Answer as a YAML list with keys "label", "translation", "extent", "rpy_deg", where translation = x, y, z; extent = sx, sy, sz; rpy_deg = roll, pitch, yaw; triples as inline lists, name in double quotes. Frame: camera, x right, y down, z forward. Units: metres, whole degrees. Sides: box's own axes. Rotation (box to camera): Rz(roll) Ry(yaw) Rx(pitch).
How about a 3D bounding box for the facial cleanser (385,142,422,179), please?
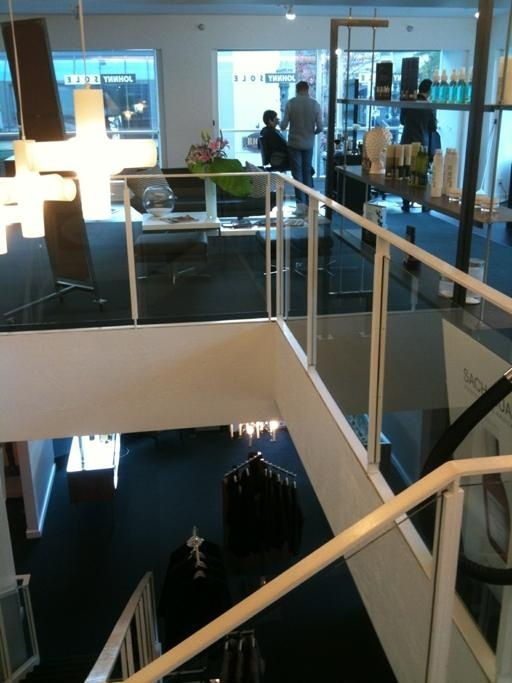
- label: "facial cleanser"
  translation: [1.114, -1.330, 3.919]
  extent: [0.273, 0.313, 0.297]
  rpy_deg: [-4, 19, -5]

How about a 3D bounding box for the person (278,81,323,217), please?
- label: "person"
  translation: [0.661, -2.804, 7.439]
  extent: [0.463, 1.732, 0.529]
  rpy_deg: [25, 47, 29]

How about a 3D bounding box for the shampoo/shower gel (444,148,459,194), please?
- label: "shampoo/shower gel"
  translation: [1.233, -1.072, 3.366]
  extent: [0.095, 0.280, 0.062]
  rpy_deg: [13, 25, 37]

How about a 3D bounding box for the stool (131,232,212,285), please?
- label: "stool"
  translation: [-0.574, -0.599, 3.676]
  extent: [0.401, 0.362, 0.284]
  rpy_deg: [-3, -3, 0]

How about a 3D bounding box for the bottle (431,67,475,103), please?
- label: "bottle"
  translation: [1.300, -1.711, 3.541]
  extent: [0.234, 0.222, 0.611]
  rpy_deg: [4, 23, 17]

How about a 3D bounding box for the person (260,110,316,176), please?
- label: "person"
  translation: [0.303, -2.779, 7.675]
  extent: [0.562, 1.072, 0.609]
  rpy_deg: [-25, 31, -33]

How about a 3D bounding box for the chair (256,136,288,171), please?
- label: "chair"
  translation: [0.229, -2.680, 7.611]
  extent: [0.422, 0.599, 0.510]
  rpy_deg: [-5, 45, -8]

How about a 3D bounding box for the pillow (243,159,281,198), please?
- label: "pillow"
  translation: [0.058, -1.133, 3.679]
  extent: [0.236, 0.272, 0.209]
  rpy_deg: [6, 37, 12]
